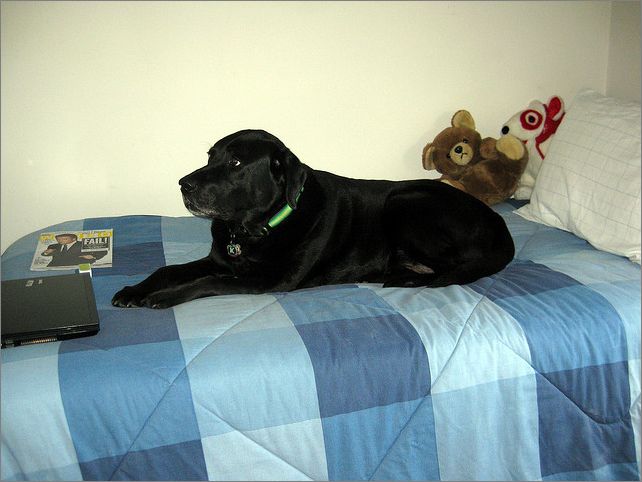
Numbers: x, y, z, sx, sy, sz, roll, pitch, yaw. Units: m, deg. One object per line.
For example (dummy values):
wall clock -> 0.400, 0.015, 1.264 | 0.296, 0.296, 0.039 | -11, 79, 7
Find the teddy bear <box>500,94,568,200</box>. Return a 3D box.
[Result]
teddy bear -> 1.191, -0.494, 2.695 | 0.408, 0.551, 0.392 | 6, 21, 42

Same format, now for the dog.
dog -> -0.019, -0.165, 2.005 | 1.314, 0.546, 0.653 | -4, 3, -12
